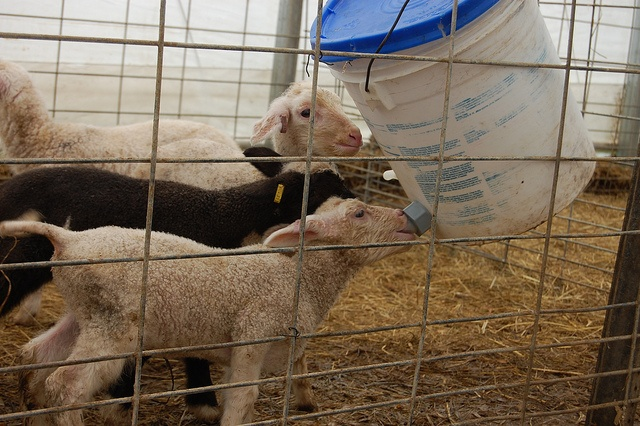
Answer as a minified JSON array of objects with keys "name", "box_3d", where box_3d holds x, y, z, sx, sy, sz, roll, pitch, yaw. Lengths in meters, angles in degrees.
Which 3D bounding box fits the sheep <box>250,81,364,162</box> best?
[{"name":"sheep","box_3d":[-0.051,-0.722,5.885,0.761,0.602,0.691,9,13,22]}]
